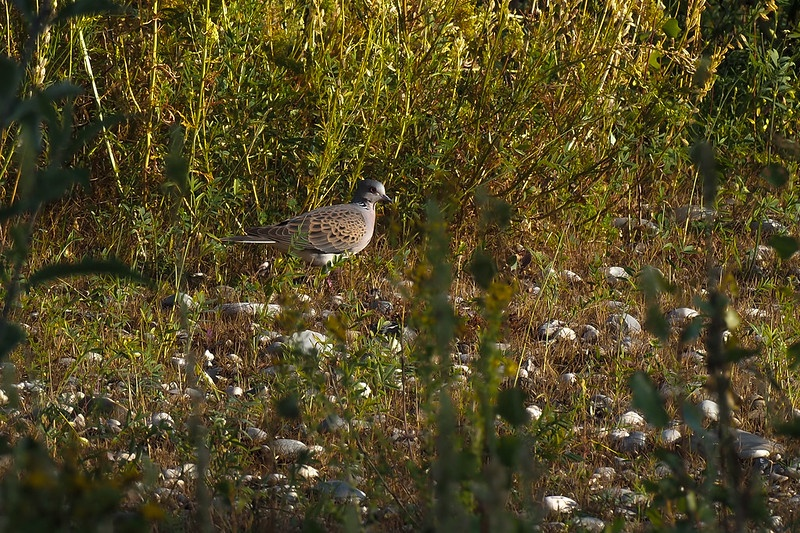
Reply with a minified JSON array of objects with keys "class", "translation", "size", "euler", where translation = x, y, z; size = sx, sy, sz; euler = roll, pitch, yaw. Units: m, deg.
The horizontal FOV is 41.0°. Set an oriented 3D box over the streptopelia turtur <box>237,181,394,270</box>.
[{"class":"streptopelia turtur","translation":[-0.408,-0.129,5.513],"size":[0.854,0.447,0.433],"euler":[-12,38,-35]}]
